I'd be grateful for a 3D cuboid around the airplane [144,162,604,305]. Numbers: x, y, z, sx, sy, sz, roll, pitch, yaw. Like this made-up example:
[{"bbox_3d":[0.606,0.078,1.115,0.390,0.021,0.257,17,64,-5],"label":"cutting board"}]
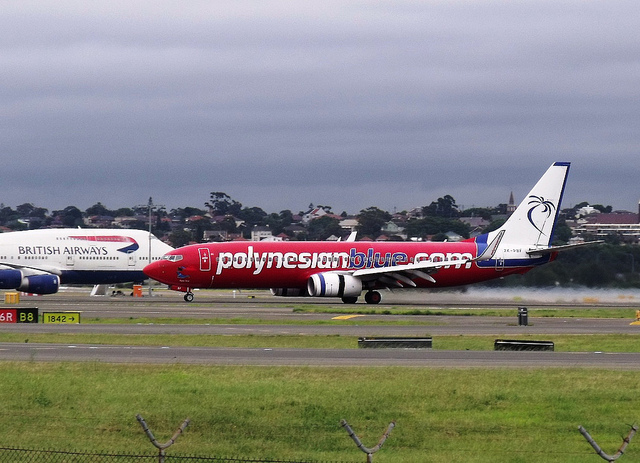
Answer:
[{"bbox_3d":[3.571,0.899,103.223,33.717,6.445,27.208,-2,8,-1],"label":"airplane"}]
